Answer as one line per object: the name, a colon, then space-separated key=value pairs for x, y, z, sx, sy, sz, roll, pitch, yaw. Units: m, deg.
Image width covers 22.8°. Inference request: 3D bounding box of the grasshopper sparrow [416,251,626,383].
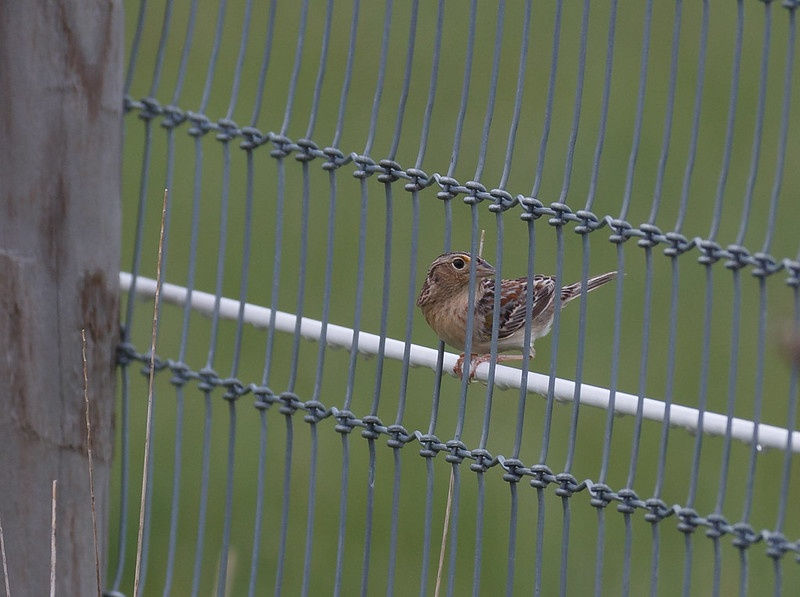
grasshopper sparrow: x=0.622 y=0.014 z=9.981 sx=1.160 sy=0.351 sz=0.631 roll=-8 pitch=-79 yaw=-29
